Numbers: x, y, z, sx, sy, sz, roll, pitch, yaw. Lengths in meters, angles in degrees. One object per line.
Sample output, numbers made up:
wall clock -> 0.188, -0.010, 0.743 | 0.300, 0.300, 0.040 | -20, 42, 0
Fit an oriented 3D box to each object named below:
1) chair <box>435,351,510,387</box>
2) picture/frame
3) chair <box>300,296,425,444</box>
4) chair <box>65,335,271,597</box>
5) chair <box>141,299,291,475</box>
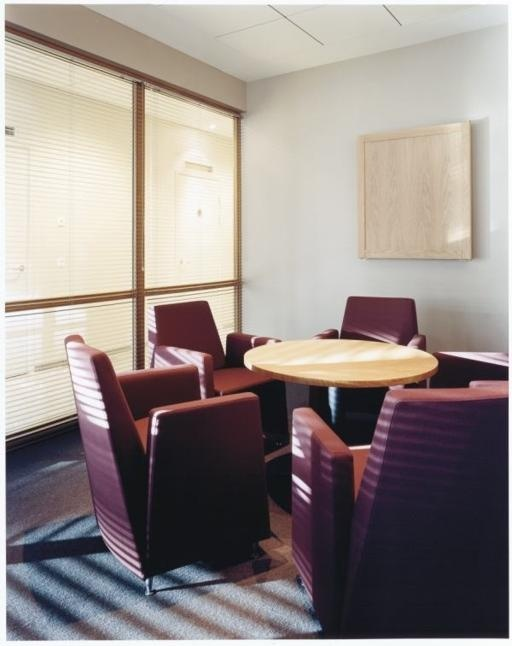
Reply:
chair -> 1.244, 0.279, 2.920 | 0.417, 0.235, 0.287 | 6, -17, 3
picture/frame -> 1.255, -1.043, 4.004 | 0.888, 1.045, 0.078 | 0, 1, 14
chair -> 0.795, 0.350, 3.581 | 0.886, 1.085, 0.884 | 1, 6, 3
chair -> -0.361, 0.494, 2.056 | 0.707, 0.901, 0.690 | -4, 8, -26
chair -> -0.280, 0.338, 3.413 | 0.936, 1.383, 0.972 | -5, 4, -43
